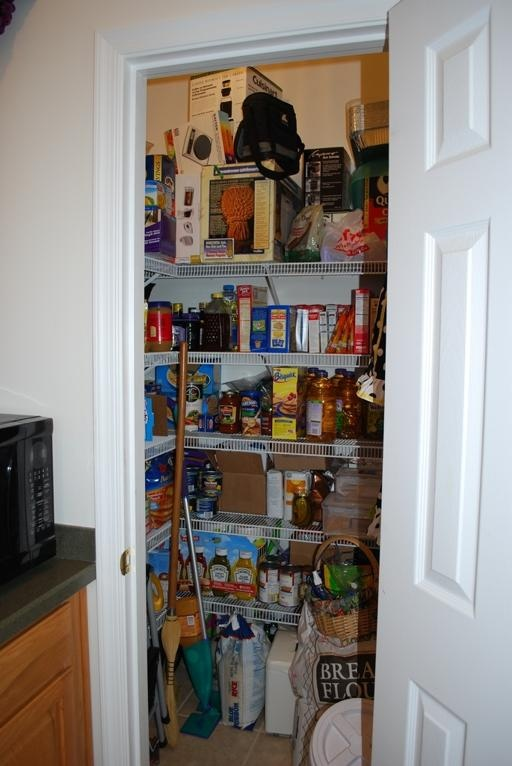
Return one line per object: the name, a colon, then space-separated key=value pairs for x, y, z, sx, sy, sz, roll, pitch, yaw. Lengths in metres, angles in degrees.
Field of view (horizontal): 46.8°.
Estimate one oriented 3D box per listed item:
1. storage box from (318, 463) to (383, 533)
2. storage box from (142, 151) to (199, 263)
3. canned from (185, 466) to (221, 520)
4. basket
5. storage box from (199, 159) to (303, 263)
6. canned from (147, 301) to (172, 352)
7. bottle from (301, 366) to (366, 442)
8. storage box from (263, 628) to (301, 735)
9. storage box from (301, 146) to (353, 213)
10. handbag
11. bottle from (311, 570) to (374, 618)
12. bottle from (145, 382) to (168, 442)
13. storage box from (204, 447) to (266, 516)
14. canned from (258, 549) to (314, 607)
storage box: x=0.341 y=0.407 z=2.102 sx=0.194 sy=0.213 sz=0.262 roll=1 pitch=4 yaw=14
storage box: x=-0.294 y=-0.601 z=2.043 sx=0.121 sy=0.345 sz=0.246 roll=1 pitch=4 yaw=16
canned: x=-0.197 y=0.414 z=2.241 sx=0.148 sy=0.195 sz=0.163 roll=0 pitch=-4 yaw=1
basket: x=0.271 y=0.663 z=1.849 sx=0.167 sy=0.278 sz=0.256 roll=-13 pitch=-20 yaw=6
storage box: x=-0.019 y=-0.633 z=2.215 sx=0.399 sy=0.332 sz=0.415 roll=-5 pitch=12 yaw=-24
canned: x=-0.326 y=-0.191 z=2.002 sx=0.086 sy=0.167 sz=0.091 roll=-3 pitch=7 yaw=-15
bottle: x=0.268 y=0.080 z=2.055 sx=0.210 sy=0.341 sz=0.121 roll=0 pitch=4 yaw=8
storage box: x=0.130 y=1.082 z=2.066 sx=0.117 sy=0.238 sz=0.225 roll=-2 pitch=-10 yaw=26
storage box: x=0.264 y=-0.852 z=2.304 sx=0.161 sy=0.190 sz=0.251 roll=1 pitch=-41 yaw=7
handbag: x=0.020 y=-0.823 z=1.987 sx=0.174 sy=0.247 sz=0.207 roll=-17 pitch=2 yaw=29
bottle: x=0.260 y=0.631 z=1.785 sx=0.194 sy=0.106 sz=0.142 roll=0 pitch=4 yaw=4
bottle: x=-0.355 y=0.112 z=2.107 sx=0.088 sy=0.190 sz=0.174 roll=1 pitch=4 yaw=7
storage box: x=-0.071 y=0.359 z=2.219 sx=0.199 sy=0.241 sz=0.207 roll=-1 pitch=-4 yaw=10
canned: x=0.103 y=0.732 z=2.224 sx=0.199 sy=0.177 sz=0.115 roll=2 pitch=0 yaw=28
